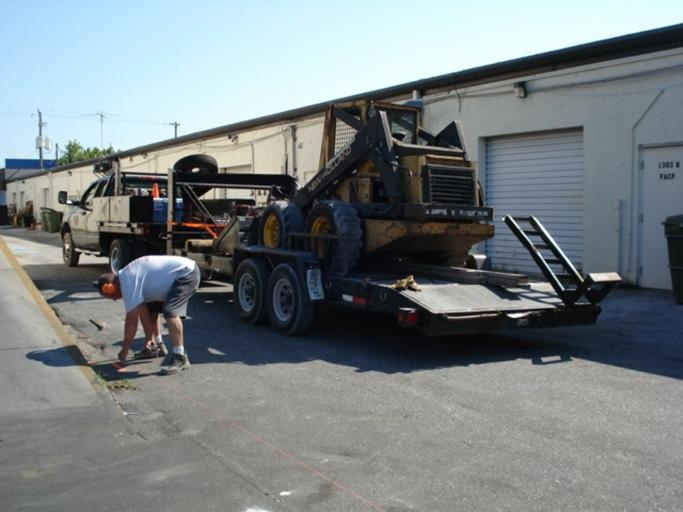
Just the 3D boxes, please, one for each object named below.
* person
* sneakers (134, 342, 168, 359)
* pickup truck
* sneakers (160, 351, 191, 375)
[{"bbox_3d":[-2.304,0.672,7.040,1.009,1.423,1.076,0,4,21],"label":"person"},{"bbox_3d":[-2.416,1.228,7.222,0.425,0.189,0.155,6,-7,-41],"label":"sneakers"},{"bbox_3d":[-5.956,-0.803,15.597,2.436,2.999,6.420,10,-4,-40],"label":"pickup truck"},{"bbox_3d":[-1.993,1.281,6.748,0.154,0.218,0.399,4,7,33],"label":"sneakers"}]
